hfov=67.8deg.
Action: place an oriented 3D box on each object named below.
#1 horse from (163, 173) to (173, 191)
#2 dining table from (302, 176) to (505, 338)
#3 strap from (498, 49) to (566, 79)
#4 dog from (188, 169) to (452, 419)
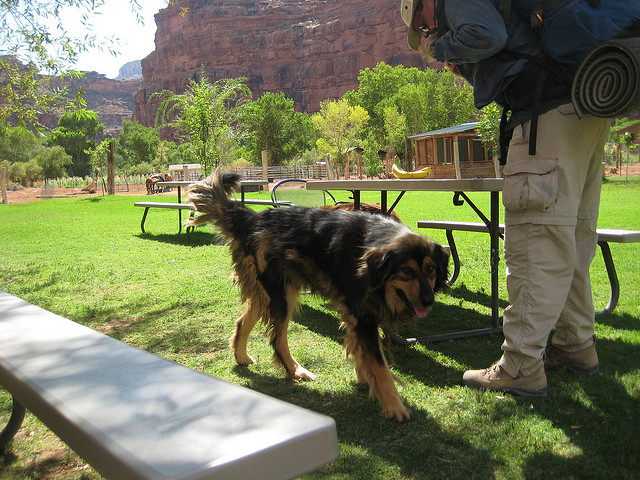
[{"bbox_3d":[-11.537,-4.528,35.936,0.647,0.962,0.898,-5,26,-16],"label":"horse"},{"bbox_3d":[0.844,0.171,4.427,2.048,1.358,1.132,7,11,40],"label":"dining table"},{"bbox_3d":[1.385,-1.126,3.111,0.324,0.110,0.416,1,-1,3],"label":"strap"},{"bbox_3d":[-0.086,0.346,3.716,2.041,1.606,0.691,5,13,25],"label":"dog"}]
